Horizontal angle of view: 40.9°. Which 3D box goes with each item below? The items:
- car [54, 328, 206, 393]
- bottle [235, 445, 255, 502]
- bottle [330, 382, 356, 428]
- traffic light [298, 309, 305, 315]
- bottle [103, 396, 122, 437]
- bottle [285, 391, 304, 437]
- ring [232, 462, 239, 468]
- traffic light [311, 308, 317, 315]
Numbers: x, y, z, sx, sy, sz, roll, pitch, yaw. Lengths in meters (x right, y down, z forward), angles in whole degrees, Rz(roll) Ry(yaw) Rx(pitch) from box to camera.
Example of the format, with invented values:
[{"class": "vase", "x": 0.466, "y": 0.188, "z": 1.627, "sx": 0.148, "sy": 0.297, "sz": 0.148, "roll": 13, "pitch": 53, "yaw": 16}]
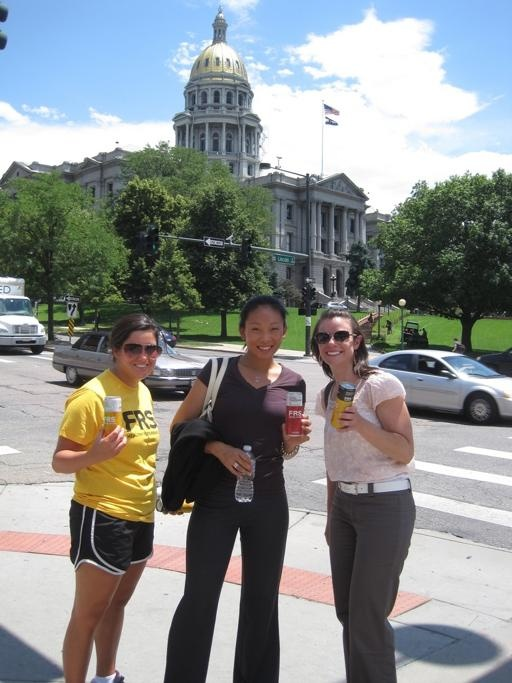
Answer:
[{"class": "car", "x": -3.059, "y": 0.573, "z": 16.493, "sx": 4.219, "sy": 1.261, "sz": 1.779, "roll": 3, "pitch": 1, "yaw": 44}, {"class": "bottle", "x": -0.047, "y": 0.566, "z": 2.891, "sx": 0.085, "sy": 0.251, "sz": 0.140, "roll": 3, "pitch": 5, "yaw": -1}, {"class": "bottle", "x": 0.369, "y": 0.274, "z": 2.933, "sx": 0.087, "sy": 0.196, "sz": 0.172, "roll": 3, "pitch": 5, "yaw": 9}, {"class": "traffic light", "x": 4.158, "y": -2.665, "z": 63.081, "sx": 0.335, "sy": 0.580, "sz": 0.629, "roll": 1, "pitch": 4, "yaw": 25}, {"class": "bottle", "x": -0.590, "y": 0.308, "z": 2.832, "sx": 0.073, "sy": 0.155, "sz": 0.110, "roll": 2, "pitch": 5, "yaw": -12}, {"class": "bottle", "x": 0.166, "y": 0.314, "z": 2.937, "sx": 0.076, "sy": 0.191, "sz": 0.090, "roll": 2, "pitch": 5, "yaw": -9}, {"class": "ring", "x": -0.086, "y": 0.509, "z": 2.811, "sx": 0.020, "sy": 0.024, "sz": 0.006, "roll": 0, "pitch": 0, "yaw": -9}, {"class": "traffic light", "x": 3.070, "y": -1.499, "z": 36.503, "sx": 0.363, "sy": 0.436, "sz": 0.628, "roll": 1, "pitch": 2, "yaw": 3}]
